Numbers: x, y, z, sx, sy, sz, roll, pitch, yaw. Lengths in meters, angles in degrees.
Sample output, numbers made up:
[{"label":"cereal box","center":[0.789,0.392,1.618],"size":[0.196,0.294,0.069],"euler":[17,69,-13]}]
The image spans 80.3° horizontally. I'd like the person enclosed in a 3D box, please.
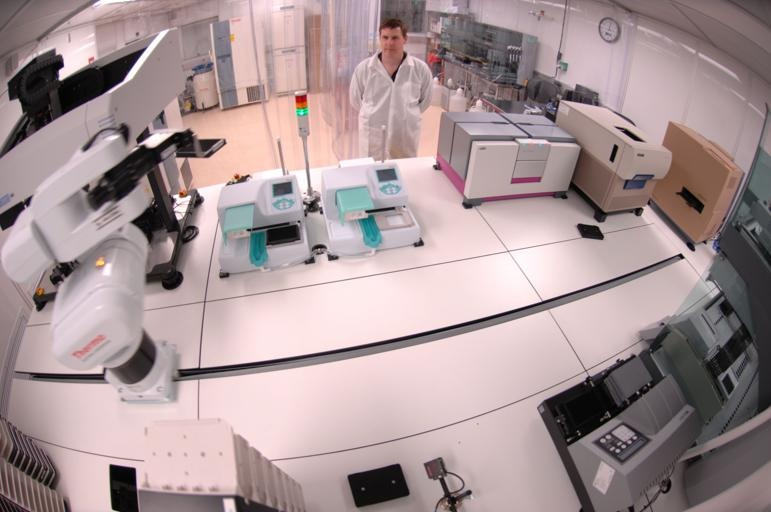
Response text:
[{"label":"person","center":[0.078,-1.736,5.003],"size":[0.918,1.417,0.477],"euler":[-8,39,-4]}]
